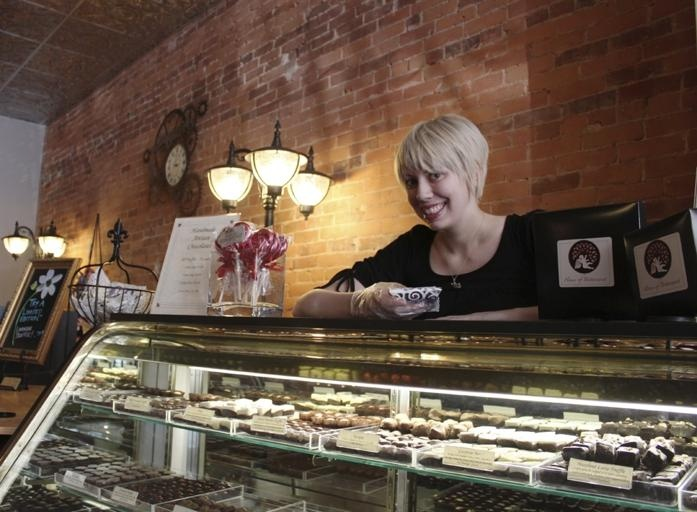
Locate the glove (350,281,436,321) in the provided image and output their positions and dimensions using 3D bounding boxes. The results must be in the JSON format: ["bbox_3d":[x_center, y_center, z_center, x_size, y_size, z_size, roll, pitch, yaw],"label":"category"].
[{"bbox_3d":[0.137,0.123,1.466,0.160,0.055,0.132,0,5,28],"label":"glove"}]

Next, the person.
[{"bbox_3d":[0.332,-0.208,2.359,0.769,0.851,1.263,12,-16,-37],"label":"person"}]

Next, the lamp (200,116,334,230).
[{"bbox_3d":[-0.544,-0.321,3.377,0.865,0.817,0.589,3,1,-13],"label":"lamp"}]

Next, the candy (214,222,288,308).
[{"bbox_3d":[-0.359,0.042,1.774,0.263,0.330,0.147,3,-16,-6],"label":"candy"}]

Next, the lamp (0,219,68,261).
[{"bbox_3d":[-3.753,-0.188,5.978,0.626,0.318,0.302,1,-12,6],"label":"lamp"}]

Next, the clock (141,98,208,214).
[{"bbox_3d":[-1.668,-0.952,4.876,0.067,1.129,1.404,14,-15,-41],"label":"clock"}]
